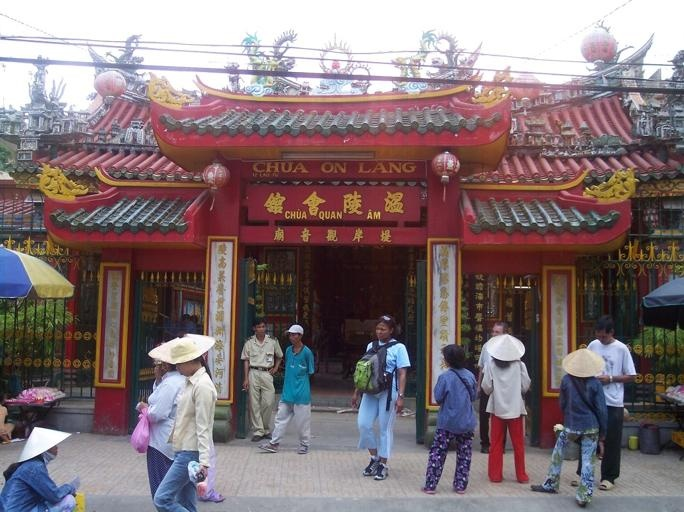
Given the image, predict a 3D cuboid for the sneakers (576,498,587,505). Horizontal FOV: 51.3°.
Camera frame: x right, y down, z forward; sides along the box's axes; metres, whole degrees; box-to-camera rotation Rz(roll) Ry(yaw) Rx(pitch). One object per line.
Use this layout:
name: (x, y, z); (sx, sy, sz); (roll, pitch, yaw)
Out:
sneakers: (3.054, 3.150, 9.125); (0.101, 0.048, 0.145); (1, -8, 15)

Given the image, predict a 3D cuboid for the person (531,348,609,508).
person: (3.086, 2.223, 9.437); (0.600, 1.951, 0.680); (-3, 6, -44)

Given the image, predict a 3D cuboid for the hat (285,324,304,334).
hat: (-0.691, 1.196, 11.456); (0.333, 0.163, 0.241); (10, -12, -38)

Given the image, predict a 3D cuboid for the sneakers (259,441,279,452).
sneakers: (-1.185, 3.006, 11.208); (0.340, 0.159, 0.125); (4, -24, 12)

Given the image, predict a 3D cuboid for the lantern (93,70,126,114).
lantern: (-6.200, -4.470, 19.088); (0.842, 1.004, 0.589); (4, -4, -29)

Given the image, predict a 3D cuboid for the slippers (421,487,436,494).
slippers: (1.146, 3.134, 9.514); (0.172, 0.074, 0.086); (1, 4, 10)

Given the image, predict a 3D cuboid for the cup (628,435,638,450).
cup: (4.803, 3.105, 11.793); (0.183, 0.209, 0.183); (3, -6, 0)

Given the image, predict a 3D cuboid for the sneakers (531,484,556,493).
sneakers: (2.721, 3.142, 9.641); (0.309, 0.113, 0.115); (2, -6, 13)

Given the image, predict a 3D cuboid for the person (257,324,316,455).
person: (-0.814, 2.110, 11.207); (0.691, 1.956, 0.504); (0, 4, -4)

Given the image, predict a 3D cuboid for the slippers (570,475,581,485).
slippers: (3.264, 3.150, 10.008); (0.084, 0.074, 0.238); (2, -3, 4)

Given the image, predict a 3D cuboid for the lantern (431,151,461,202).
lantern: (1.689, -1.325, 11.756); (0.450, 0.817, 0.520); (1, 4, 6)

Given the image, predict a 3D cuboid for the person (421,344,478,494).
person: (1.458, 2.196, 9.677); (0.706, 1.944, 0.594); (1, 4, 7)

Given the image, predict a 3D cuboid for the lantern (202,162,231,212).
lantern: (-2.113, -1.168, 12.023); (0.429, 0.809, 0.345); (0, 4, -9)

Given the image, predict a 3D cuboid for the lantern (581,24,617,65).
lantern: (6.923, -5.751, 19.354); (0.851, 0.977, 0.841); (-1, 7, -8)

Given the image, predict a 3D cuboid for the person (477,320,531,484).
person: (2.285, 2.143, 10.037); (0.688, 2.016, 0.438); (1, 4, 12)

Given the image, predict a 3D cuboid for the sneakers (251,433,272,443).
sneakers: (-1.342, 3.035, 11.885); (0.115, 0.148, 0.350); (-7, -19, 35)

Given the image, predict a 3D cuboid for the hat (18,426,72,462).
hat: (-3.247, 2.018, 7.776); (0.445, 0.176, 0.450); (-22, 2, 42)

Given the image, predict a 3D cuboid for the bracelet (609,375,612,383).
bracelet: (3.791, 1.746, 10.088); (0.051, 0.072, 0.079); (-5, 31, 9)

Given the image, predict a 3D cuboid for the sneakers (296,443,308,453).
sneakers: (-0.623, 3.005, 11.117); (0.171, 0.172, 0.106); (0, -2, 1)
